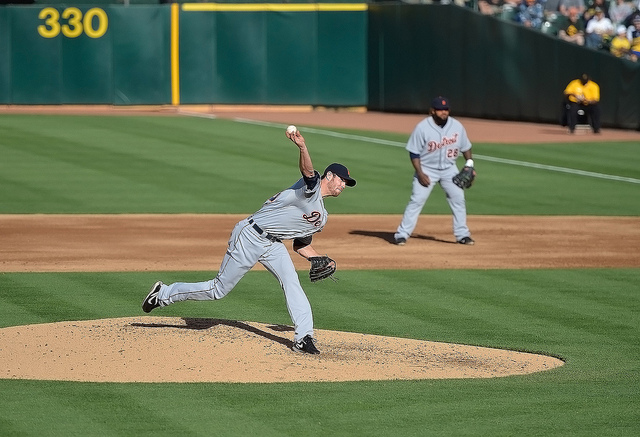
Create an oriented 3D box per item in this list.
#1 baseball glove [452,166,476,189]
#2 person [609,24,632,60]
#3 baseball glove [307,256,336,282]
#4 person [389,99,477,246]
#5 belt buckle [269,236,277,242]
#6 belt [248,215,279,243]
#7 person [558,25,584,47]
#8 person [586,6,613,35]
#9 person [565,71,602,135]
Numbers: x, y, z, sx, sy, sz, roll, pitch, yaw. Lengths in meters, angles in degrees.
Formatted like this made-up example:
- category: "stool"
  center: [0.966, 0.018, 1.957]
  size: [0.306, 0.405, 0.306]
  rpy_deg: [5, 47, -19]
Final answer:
- category: "baseball glove"
  center: [2.486, -0.723, 19.066]
  size: [0.368, 0.381, 0.174]
  rpy_deg: [2, 9, 1]
- category: "person"
  center: [7.640, -4.520, 27.938]
  size: [0.513, 0.862, 1.190]
  rpy_deg: [4, 9, 13]
- category: "baseball glove"
  center: [0.017, 0.689, 15.112]
  size: [0.363, 0.349, 0.220]
  rpy_deg: [2, 9, -2]
- category: "person"
  center: [2.062, -0.804, 19.097]
  size: [1.282, 2.531, 0.438]
  rpy_deg: [3, 9, 4]
- category: "belt buckle"
  center: [-0.631, 0.270, 14.812]
  size: [0.076, 0.064, 0.019]
  rpy_deg: [19, 4, 40]
- category: "belt"
  center: [-0.772, 0.172, 14.807]
  size: [0.366, 0.093, 0.341]
  rpy_deg: [42, 4, -14]
- category: "person"
  center: [6.570, -4.812, 28.764]
  size: [0.596, 0.518, 0.907]
  rpy_deg: [1, 8, -7]
- category: "person"
  center: [7.323, -5.149, 28.729]
  size: [1.049, 0.767, 0.520]
  rpy_deg: [1, -7, 7]
- category: "person"
  center: [6.536, -2.811, 27.319]
  size: [0.891, 1.494, 0.933]
  rpy_deg: [4, 9, 12]
